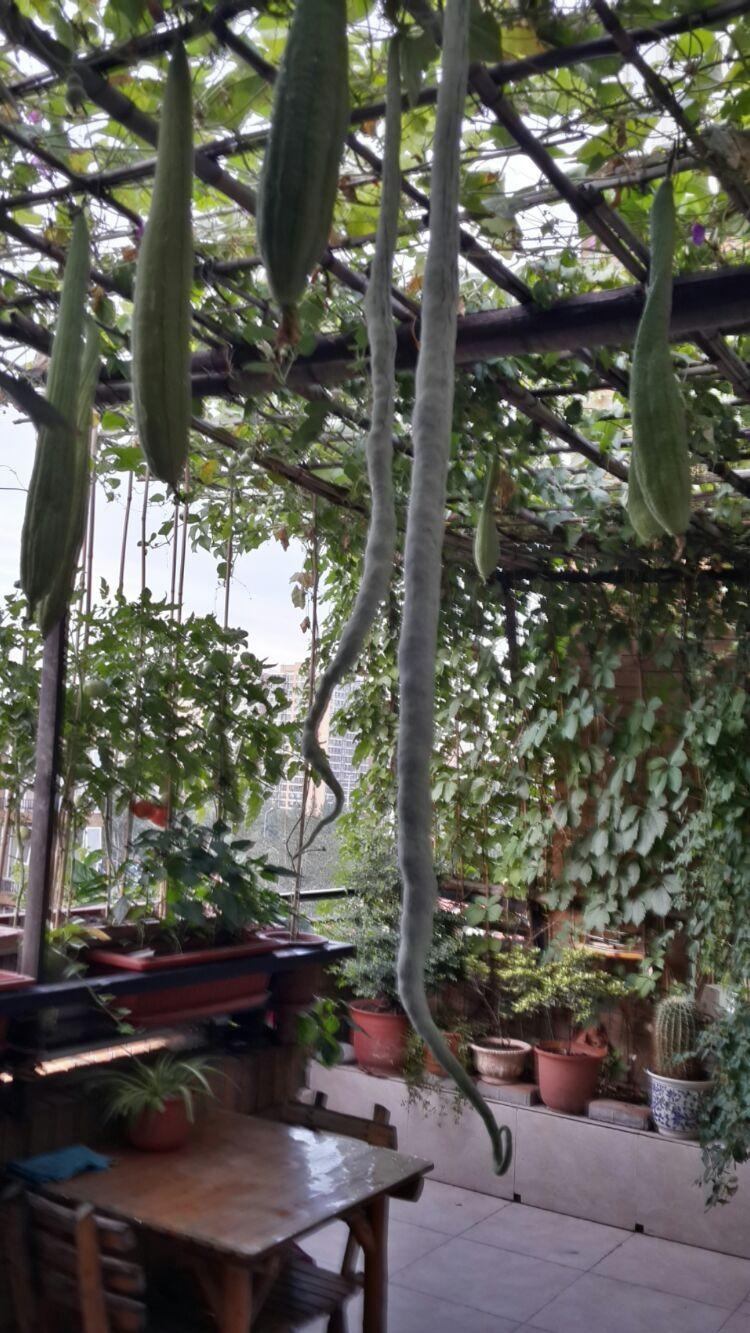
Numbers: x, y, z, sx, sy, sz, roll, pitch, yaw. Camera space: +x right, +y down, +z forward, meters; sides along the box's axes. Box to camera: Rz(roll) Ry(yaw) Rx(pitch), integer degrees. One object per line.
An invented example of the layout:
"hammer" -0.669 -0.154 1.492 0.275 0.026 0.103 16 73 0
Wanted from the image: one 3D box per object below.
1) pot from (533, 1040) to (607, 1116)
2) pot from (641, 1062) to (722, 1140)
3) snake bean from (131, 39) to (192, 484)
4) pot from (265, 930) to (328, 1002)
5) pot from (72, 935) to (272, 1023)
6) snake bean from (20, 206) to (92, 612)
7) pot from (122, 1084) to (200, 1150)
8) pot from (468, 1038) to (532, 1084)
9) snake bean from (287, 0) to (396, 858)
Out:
"pot" 0.800 1.686 3.919 0.224 0.218 0.255 4 -18 2
"pot" 1.176 1.682 3.692 0.196 0.177 0.203 12 -16 3
"snake bean" -0.081 -0.159 0.375 0.023 0.171 0.041 4 -9 -14
"pot" -0.215 0.822 2.649 0.162 0.163 0.170 0 -9 0
"pot" -0.457 0.737 2.365 0.306 0.114 0.204 3 -1 -42
"snake bean" -0.152 -0.131 0.461 0.023 0.205 0.097 6 -10 -21
"pot" -0.449 0.965 2.076 0.123 0.100 0.133 -2 -7 0
"pot" 0.577 1.697 4.179 0.195 0.130 0.203 1 -11 0
"snake bean" 0.005 -0.064 0.235 0.020 0.220 0.025 12 -35 -10
